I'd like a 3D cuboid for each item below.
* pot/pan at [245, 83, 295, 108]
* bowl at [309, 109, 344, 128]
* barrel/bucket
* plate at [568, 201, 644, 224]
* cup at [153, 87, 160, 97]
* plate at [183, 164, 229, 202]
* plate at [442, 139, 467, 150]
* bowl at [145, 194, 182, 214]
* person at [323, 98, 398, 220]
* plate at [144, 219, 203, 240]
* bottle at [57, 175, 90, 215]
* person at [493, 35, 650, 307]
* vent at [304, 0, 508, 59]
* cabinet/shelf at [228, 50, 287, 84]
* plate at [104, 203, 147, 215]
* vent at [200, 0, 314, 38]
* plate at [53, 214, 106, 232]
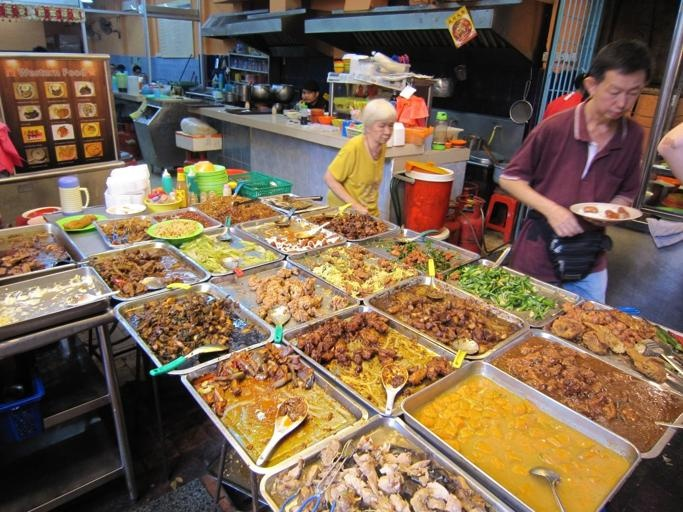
[{"bbox_3d":[-1.259,-2.748,8.023,0.709,0.217,0.497,5,21,13],"label":"pot/pan"},{"bbox_3d":[-0.255,-2.017,6.893,0.523,0.170,0.375,4,19,-3],"label":"bowl"},{"bbox_3d":[0.866,-0.582,4.951,0.480,0.608,0.334,7,30,8],"label":"barrel/bucket"},{"bbox_3d":[1.775,-0.291,3.148,0.290,0.054,0.253,-5,17,-13],"label":"plate"},{"bbox_3d":[-3.803,-3.359,9.623,0.138,0.135,0.493,-8,27,-20],"label":"cup"},{"bbox_3d":[-1.339,-0.748,4.620,0.468,0.358,0.417,-7,21,-21],"label":"plate"},{"bbox_3d":[1.435,-1.426,6.045,0.200,0.080,0.255,0,8,3],"label":"plate"},{"bbox_3d":[-1.573,-0.457,4.103,0.236,0.083,0.205,-5,22,-13],"label":"bowl"},{"bbox_3d":[0.171,-0.924,4.500,0.643,1.093,0.626,-2,30,-10],"label":"person"},{"bbox_3d":[-1.309,-0.195,3.667,0.270,0.058,0.243,11,25,20],"label":"plate"},{"bbox_3d":[-2.297,-0.521,3.996,0.167,0.303,0.237,5,29,3],"label":"bottle"},{"bbox_3d":[1.636,-0.556,3.296,0.987,1.769,0.643,8,31,9],"label":"person"},{"bbox_3d":[0.962,-3.239,6.711,2.614,0.497,1.068,15,29,33],"label":"vent"},{"bbox_3d":[-2.058,-4.395,11.000,0.479,0.637,1.925,-19,32,-34],"label":"cabinet/shelf"},{"bbox_3d":[-1.844,-0.392,4.021,0.305,0.059,0.217,-8,27,-22],"label":"plate"},{"bbox_3d":[-1.705,-4.434,8.945,0.601,0.465,2.658,-19,32,-36],"label":"vent"},{"bbox_3d":[-2.126,-0.288,3.832,0.348,0.100,0.354,-10,28,-24],"label":"plate"}]
